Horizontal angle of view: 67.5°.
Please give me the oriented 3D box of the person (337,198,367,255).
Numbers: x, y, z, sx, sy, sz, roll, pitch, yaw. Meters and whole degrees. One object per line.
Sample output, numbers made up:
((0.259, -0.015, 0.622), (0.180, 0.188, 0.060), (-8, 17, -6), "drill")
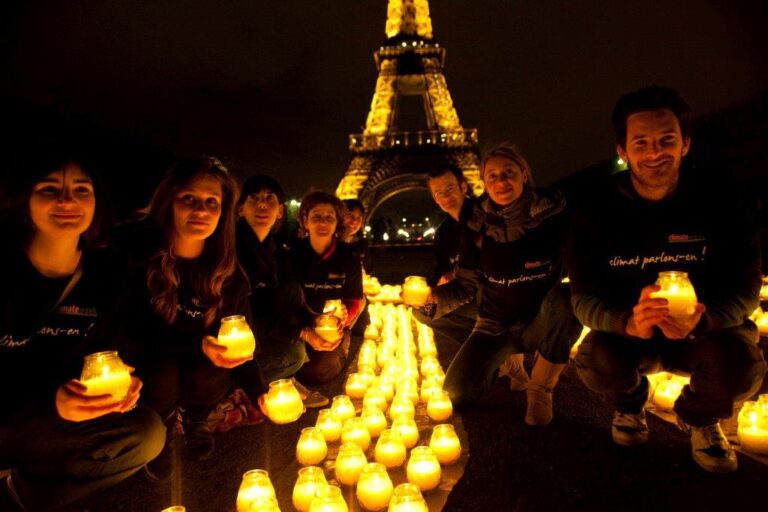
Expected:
((-0.486, -0.453, 9.425), (0.756, 0.844, 0.375), (2, 10, -17), "person")

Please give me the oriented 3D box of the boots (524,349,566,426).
((1.449, 1.241, 5.309), (0.316, 0.660, 0.672), (6, 21, 14), "boots")

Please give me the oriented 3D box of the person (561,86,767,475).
((2.377, 0.093, 4.844), (1.559, 3.027, 0.962), (4, 7, 15), "person")

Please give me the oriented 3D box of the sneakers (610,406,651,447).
((2.062, 1.435, 4.900), (0.299, 0.256, 0.284), (-5, 7, 8), "sneakers")

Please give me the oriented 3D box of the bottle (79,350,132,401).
((-2.072, 0.896, 4.287), (0.332, 0.385, 0.189), (-1, 7, -26), "bottle")

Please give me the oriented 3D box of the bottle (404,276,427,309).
((0.339, 0.387, 6.391), (0.335, 0.293, 0.304), (1, -6, 0), "bottle")
